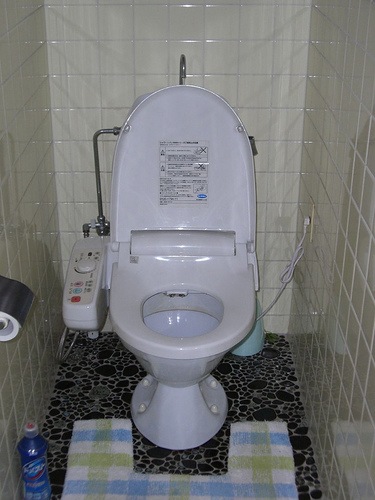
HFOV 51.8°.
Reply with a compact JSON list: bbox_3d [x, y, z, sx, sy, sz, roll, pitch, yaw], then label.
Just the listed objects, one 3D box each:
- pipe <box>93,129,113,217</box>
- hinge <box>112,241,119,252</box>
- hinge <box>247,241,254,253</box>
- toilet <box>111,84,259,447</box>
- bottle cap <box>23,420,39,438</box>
[{"bbox_3d":[-0.294,-0.263,1.344,0.066,0.306,0.188,-9,22,-19],"label":"pipe"},{"bbox_3d":[-0.213,-0.008,1.148,0.015,0.028,0.024,-2,20,-4],"label":"hinge"},{"bbox_3d":[0.182,-0.006,1.140,0.016,0.028,0.025,0,1,0],"label":"hinge"},{"bbox_3d":[-0.024,0.102,1.099,0.382,1.011,0.617,4,26,7],"label":"toilet"},{"bbox_3d":[-0.365,0.417,0.909,0.028,0.037,0.033,5,30,-6],"label":"bottle cap"}]
